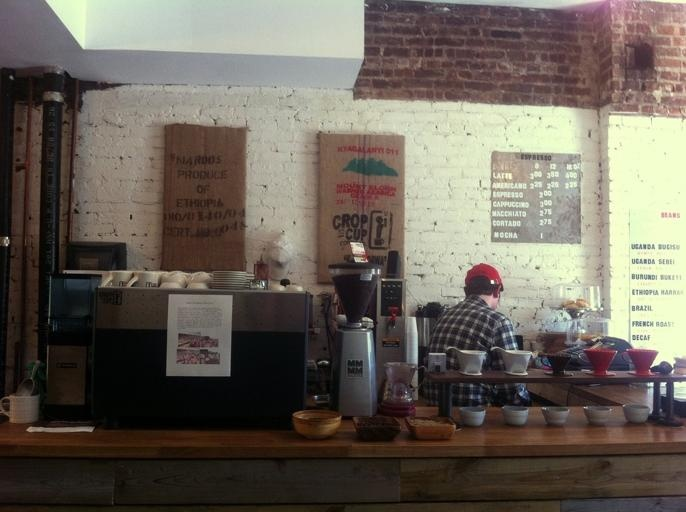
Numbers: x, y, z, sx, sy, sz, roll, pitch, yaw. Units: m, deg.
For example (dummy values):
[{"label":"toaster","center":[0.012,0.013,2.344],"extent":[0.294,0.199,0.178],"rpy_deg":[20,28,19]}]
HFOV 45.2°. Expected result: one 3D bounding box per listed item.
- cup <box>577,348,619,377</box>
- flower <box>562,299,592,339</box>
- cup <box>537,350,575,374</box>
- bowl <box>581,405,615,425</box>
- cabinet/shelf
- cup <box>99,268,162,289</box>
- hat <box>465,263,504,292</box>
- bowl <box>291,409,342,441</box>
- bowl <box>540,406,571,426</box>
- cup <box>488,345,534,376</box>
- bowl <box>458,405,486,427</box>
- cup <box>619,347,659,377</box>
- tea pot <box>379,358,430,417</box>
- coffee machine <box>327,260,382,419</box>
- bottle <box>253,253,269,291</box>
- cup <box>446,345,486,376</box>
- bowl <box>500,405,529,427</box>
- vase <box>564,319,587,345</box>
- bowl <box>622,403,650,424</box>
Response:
[{"label":"cup","center":[1.648,0.676,5.329],"extent":[0.176,0.175,0.177],"rpy_deg":[1,-5,0]},{"label":"flower","center":[2.041,0.582,7.233],"extent":[0.260,0.308,0.246],"rpy_deg":[4,-2,5]},{"label":"cup","center":[1.373,0.684,5.312],"extent":[0.147,0.144,0.223],"rpy_deg":[0,-5,6]},{"label":"bowl","center":[1.585,0.985,5.200],"extent":[0.130,0.076,0.128],"rpy_deg":[4,-7,0]},{"label":"cabinet/shelf","center":[-0.851,0.580,5.435],"extent":[1.412,0.870,0.794],"rpy_deg":[0,8,1]},{"label":"cup","center":[-1.336,0.143,5.257],"extent":[0.278,0.096,0.159],"rpy_deg":[1,-5,-5]},{"label":"hat","center":[1.078,0.154,6.176],"extent":[0.263,0.199,0.422],"rpy_deg":[0,-1,23]},{"label":"bowl","center":[-0.159,1.015,5.021],"extent":[0.295,0.161,0.234],"rpy_deg":[1,-5,-2]},{"label":"bowl","center":[1.339,0.999,5.205],"extent":[0.156,0.117,0.168],"rpy_deg":[1,-5,0]},{"label":"cup","center":[1.099,0.667,5.316],"extent":[0.166,0.121,0.213],"rpy_deg":[2,-14,-6]},{"label":"bowl","center":[0.841,0.998,5.174],"extent":[0.235,0.116,0.128],"rpy_deg":[3,-5,-30]},{"label":"cup","center":[1.923,0.672,5.295],"extent":[0.180,0.137,0.165],"rpy_deg":[2,-10,0]},{"label":"tea pot","center":[0.373,0.863,5.354],"extent":[0.292,0.315,0.242],"rpy_deg":[7,-9,-25]},{"label":"coffee machine","center":[0.073,0.524,5.274],"extent":[0.318,0.980,0.133],"rpy_deg":[1,-5,1]},{"label":"bottle","center":[-0.530,0.131,5.314],"extent":[0.101,0.165,0.098],"rpy_deg":[-1,-10,0]},{"label":"cup","center":[0.813,0.669,5.253],"extent":[0.181,0.159,0.157],"rpy_deg":[0,-5,9]},{"label":"bowl","center":[1.092,0.999,5.218],"extent":[0.149,0.118,0.199],"rpy_deg":[-1,-5,15]},{"label":"vase","center":[2.022,0.657,7.183],"extent":[0.210,0.333,0.200],"rpy_deg":[0,-5,20]},{"label":"bowl","center":[1.854,0.984,5.231],"extent":[0.126,0.078,0.125],"rpy_deg":[6,-13,1]}]
